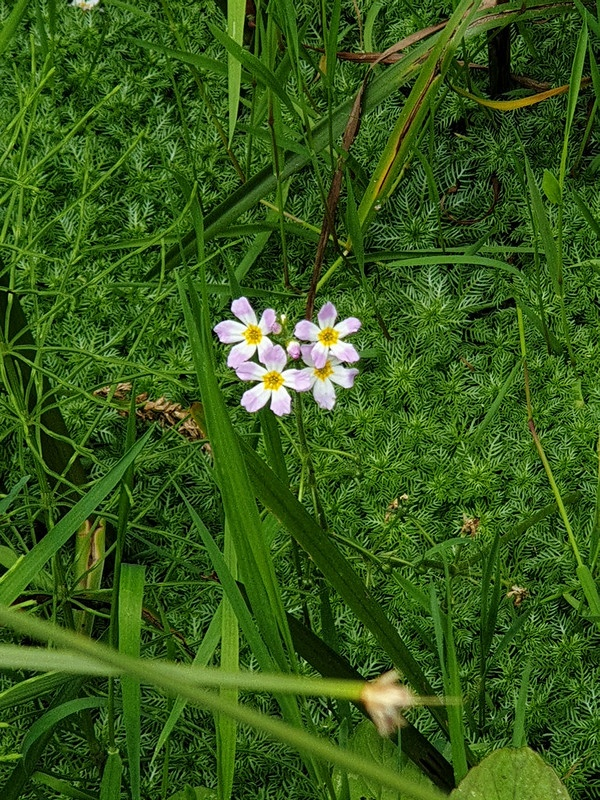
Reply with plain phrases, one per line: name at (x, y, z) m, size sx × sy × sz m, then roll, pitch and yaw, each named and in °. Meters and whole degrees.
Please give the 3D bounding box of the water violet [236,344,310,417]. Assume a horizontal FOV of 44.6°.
water violet at (-0.034, -0.030, 0.922) m, size 0.090 × 0.081 × 0.029 m, roll 10°, pitch 51°, yaw -19°

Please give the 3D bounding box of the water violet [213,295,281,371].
water violet at (-0.060, -0.103, 0.972) m, size 0.085 × 0.086 × 0.028 m, roll 6°, pitch 66°, yaw 33°

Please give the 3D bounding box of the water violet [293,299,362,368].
water violet at (0.039, -0.093, 0.957) m, size 0.080 × 0.079 × 0.026 m, roll -12°, pitch 61°, yaw 37°
